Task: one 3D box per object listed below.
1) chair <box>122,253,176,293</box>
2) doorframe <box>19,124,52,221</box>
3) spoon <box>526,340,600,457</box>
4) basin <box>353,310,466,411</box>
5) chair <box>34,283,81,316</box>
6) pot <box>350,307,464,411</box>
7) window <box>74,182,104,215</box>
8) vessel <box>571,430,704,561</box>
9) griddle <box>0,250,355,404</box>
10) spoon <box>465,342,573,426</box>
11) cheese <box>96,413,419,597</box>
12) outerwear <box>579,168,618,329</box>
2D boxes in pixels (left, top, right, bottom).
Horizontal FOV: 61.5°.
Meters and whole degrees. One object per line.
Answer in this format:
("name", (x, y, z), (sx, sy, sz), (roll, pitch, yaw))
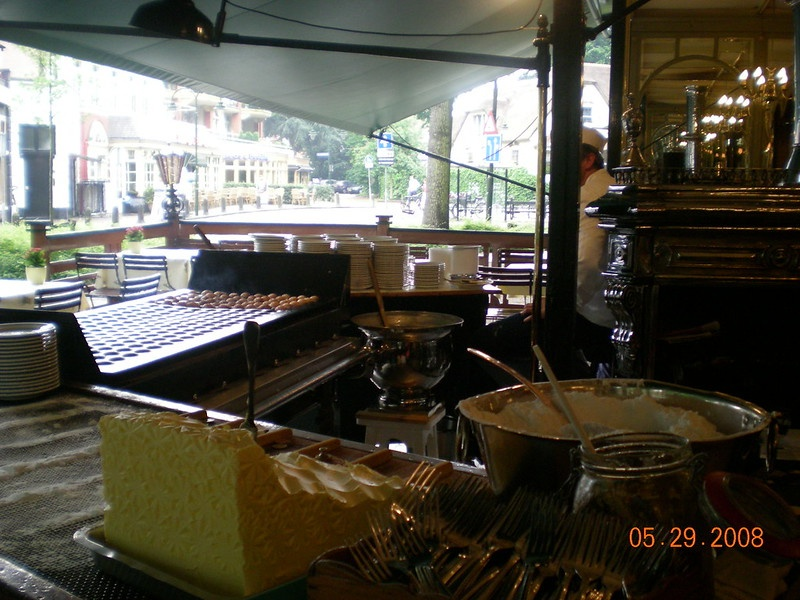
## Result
("chair", (-2.287, -0.248, 6.111), (0.292, 0.456, 0.317), (2, 23, -4))
("doorframe", (-4.333, -1.349, 7.964), (0.075, 1.366, 0.495), (18, 23, 23))
("spoon", (0.408, 0.229, 1.705), (0.057, 0.389, 0.054), (-29, 7, -36))
("basin", (0.017, 0.272, 3.054), (0.499, 0.367, 0.513), (0, 7, 0))
("chair", (-2.141, -0.016, 4.181), (0.175, 0.246, 0.156), (12, 12, 27))
("pot", (0.024, 0.288, 3.028), (0.473, 0.337, 0.472), (-1, 0, 0))
("window", (-7.200, -2.363, 15.594), (0.359, 0.775, 1.397), (-3, 8, -10))
("vessel", (0.355, 0.302, 0.991), (0.199, 0.182, 0.150), (-6, 3, 22))
("griddle", (-0.680, -0.003, 2.412), (0.539, 0.286, 0.982), (6, 14, 22))
("spoon", (0.235, 0.150, 1.327), (0.272, 0.049, 0.038), (25, -40, -17))
("cheese", (-0.262, 0.242, 1.056), (0.313, 0.175, 0.310), (6, 6, 38))
("outerwear", (1.108, -0.294, 3.810), (0.194, 0.868, 0.404), (1, 8, 15))
